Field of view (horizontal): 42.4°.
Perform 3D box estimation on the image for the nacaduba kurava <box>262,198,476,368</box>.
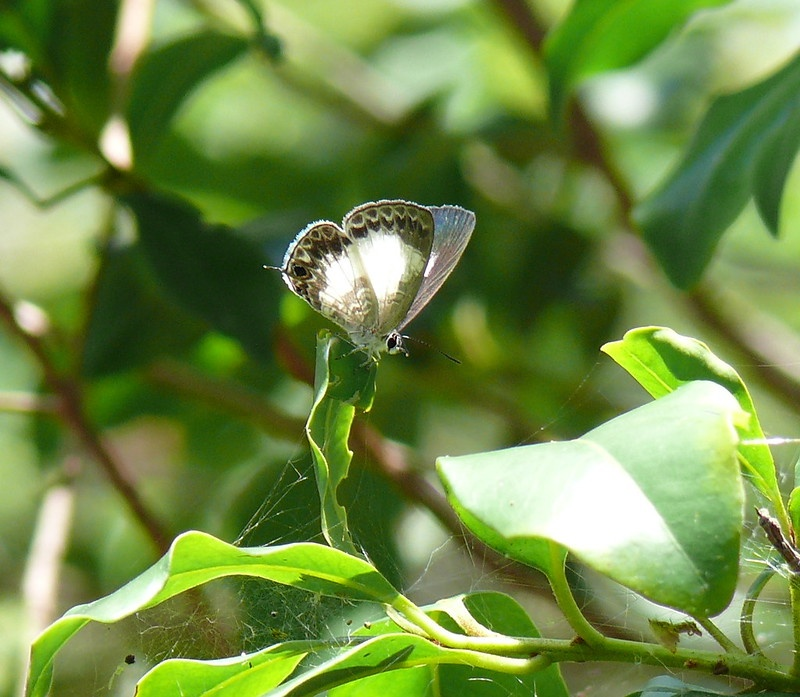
[{"bbox_3d":[-0.044,-0.180,2.369,0.350,0.430,0.346,30,98,13],"label":"nacaduba kurava"}]
